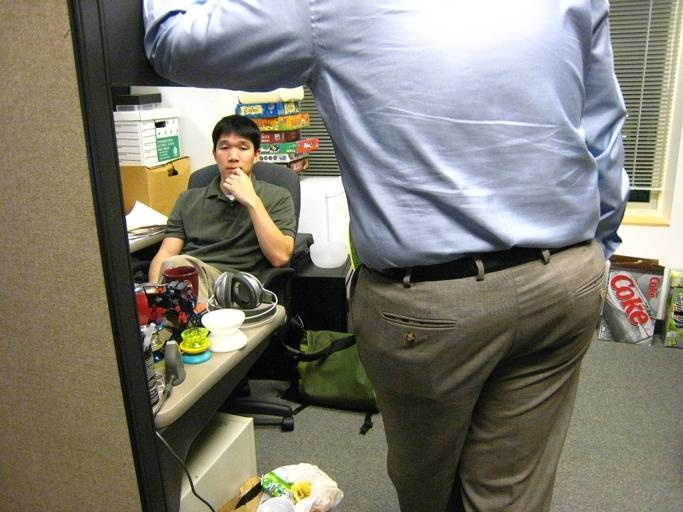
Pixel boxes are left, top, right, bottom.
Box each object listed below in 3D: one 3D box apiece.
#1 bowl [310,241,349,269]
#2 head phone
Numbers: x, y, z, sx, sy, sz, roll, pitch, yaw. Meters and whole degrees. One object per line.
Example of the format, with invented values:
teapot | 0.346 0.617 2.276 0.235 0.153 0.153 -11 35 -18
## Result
bowl | -0.067 -0.004 2.897 0.150 0.082 0.149 -2 12 0
head phone | -0.296 0.145 1.670 0.209 0.110 0.220 14 26 -14
